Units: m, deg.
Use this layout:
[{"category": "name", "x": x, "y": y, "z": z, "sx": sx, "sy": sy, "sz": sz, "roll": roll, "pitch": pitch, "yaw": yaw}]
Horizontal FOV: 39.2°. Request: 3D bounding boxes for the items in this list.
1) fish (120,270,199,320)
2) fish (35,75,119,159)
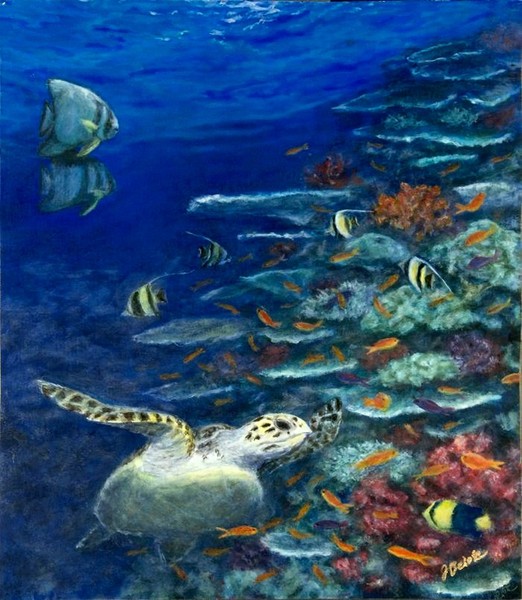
[{"category": "fish", "x": -0.657, "y": -0.036, "z": 4.738, "sx": 0.317, "sy": 0.238, "sz": 0.348, "roll": 13, "pitch": 20, "yaw": 42}, {"category": "fish", "x": -1.227, "y": -1.151, "z": 4.742, "sx": 0.666, "sy": 0.446, "sz": 0.177, "roll": 3, "pitch": 8, "yaw": -1}]
